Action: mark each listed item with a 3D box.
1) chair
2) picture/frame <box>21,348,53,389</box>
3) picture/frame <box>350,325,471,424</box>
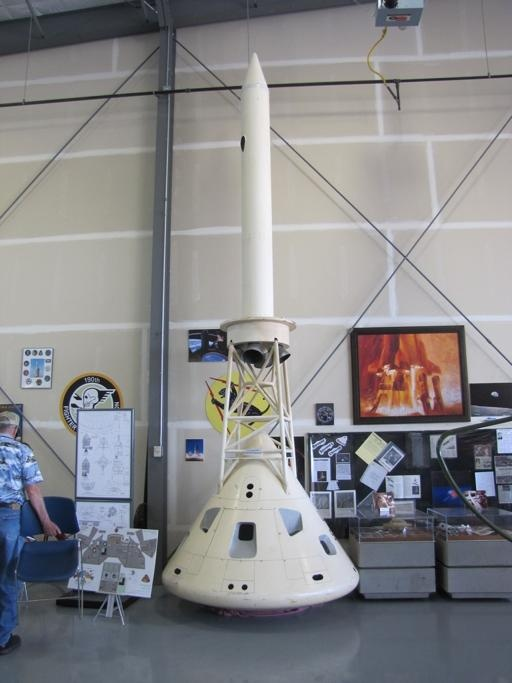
[{"bbox_3d":[-1.385,1.466,4.166,0.391,0.680,0.635,-1,9,-12],"label":"chair"},{"bbox_3d":[-2.115,0.281,6.018,0.369,0.474,0.055,-2,-14,0],"label":"picture/frame"},{"bbox_3d":[1.428,0.345,5.660,0.882,0.765,0.072,-1,-10,3],"label":"picture/frame"}]
